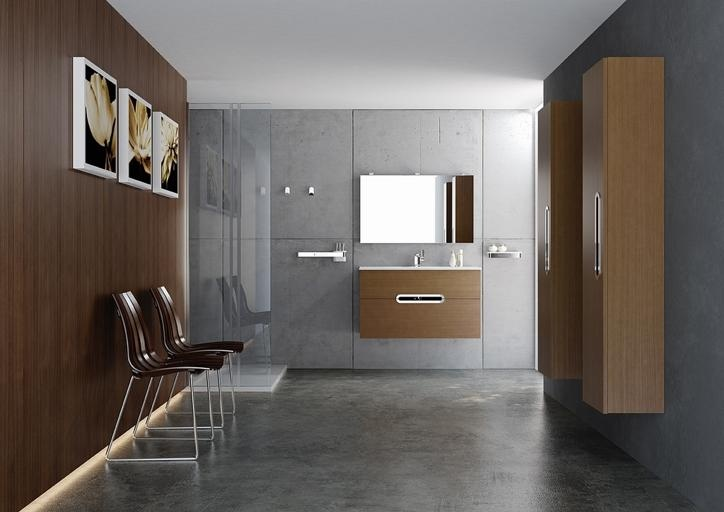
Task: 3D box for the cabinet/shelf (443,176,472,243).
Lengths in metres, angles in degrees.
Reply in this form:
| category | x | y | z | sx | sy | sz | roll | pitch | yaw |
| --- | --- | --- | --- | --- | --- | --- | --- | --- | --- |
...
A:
| category | x | y | z | sx | sy | sz | roll | pitch | yaw |
| --- | --- | --- | --- | --- | --- | --- | --- | --- | --- |
| cabinet/shelf | 1.269 | -0.606 | 7.162 | 0.359 | 0.861 | 0.127 | 0 | 4 | 1 |

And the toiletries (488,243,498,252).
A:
| category | x | y | z | sx | sy | sz | roll | pitch | yaw |
| --- | --- | --- | --- | --- | --- | --- | --- | --- | --- |
| toiletries | 1.719 | -0.105 | 7.186 | 0.083 | 0.094 | 0.102 | 5 | -8 | -44 |

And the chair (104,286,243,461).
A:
| category | x | y | z | sx | sy | sz | roll | pitch | yaw |
| --- | --- | --- | --- | --- | --- | --- | --- | --- | --- |
| chair | -1.733 | 1.047 | 4.673 | 1.188 | 1.782 | 1.065 | -1 | -4 | 0 |

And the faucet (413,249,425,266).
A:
| category | x | y | z | sx | sy | sz | roll | pitch | yaw |
| --- | --- | --- | --- | --- | --- | --- | --- | --- | --- |
| faucet | 0.748 | 0.027 | 7.207 | 0.149 | 0.202 | 0.072 | -2 | 4 | -24 |

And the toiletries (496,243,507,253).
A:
| category | x | y | z | sx | sy | sz | roll | pitch | yaw |
| --- | --- | --- | --- | --- | --- | --- | --- | --- | --- |
| toiletries | 1.834 | -0.092 | 7.193 | 0.123 | 0.123 | 0.094 | -1 | -9 | 8 |

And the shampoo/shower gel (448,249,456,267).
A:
| category | x | y | z | sx | sy | sz | roll | pitch | yaw |
| --- | --- | --- | --- | --- | --- | --- | --- | --- | --- |
| shampoo/shower gel | 1.187 | 0.038 | 7.146 | 0.092 | 0.197 | 0.175 | 1 | 4 | 9 |

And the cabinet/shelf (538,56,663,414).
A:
| category | x | y | z | sx | sy | sz | roll | pitch | yaw |
| --- | --- | --- | --- | --- | --- | --- | --- | --- | --- |
| cabinet/shelf | 1.933 | -0.123 | 4.485 | 0.495 | 2.775 | 1.146 | 0 | 4 | -6 |

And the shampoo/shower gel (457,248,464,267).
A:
| category | x | y | z | sx | sy | sz | roll | pitch | yaw |
| --- | --- | --- | --- | --- | --- | --- | --- | --- | --- |
| shampoo/shower gel | 1.293 | 0.031 | 7.206 | 0.071 | 0.208 | 0.116 | 1 | 4 | 22 |
